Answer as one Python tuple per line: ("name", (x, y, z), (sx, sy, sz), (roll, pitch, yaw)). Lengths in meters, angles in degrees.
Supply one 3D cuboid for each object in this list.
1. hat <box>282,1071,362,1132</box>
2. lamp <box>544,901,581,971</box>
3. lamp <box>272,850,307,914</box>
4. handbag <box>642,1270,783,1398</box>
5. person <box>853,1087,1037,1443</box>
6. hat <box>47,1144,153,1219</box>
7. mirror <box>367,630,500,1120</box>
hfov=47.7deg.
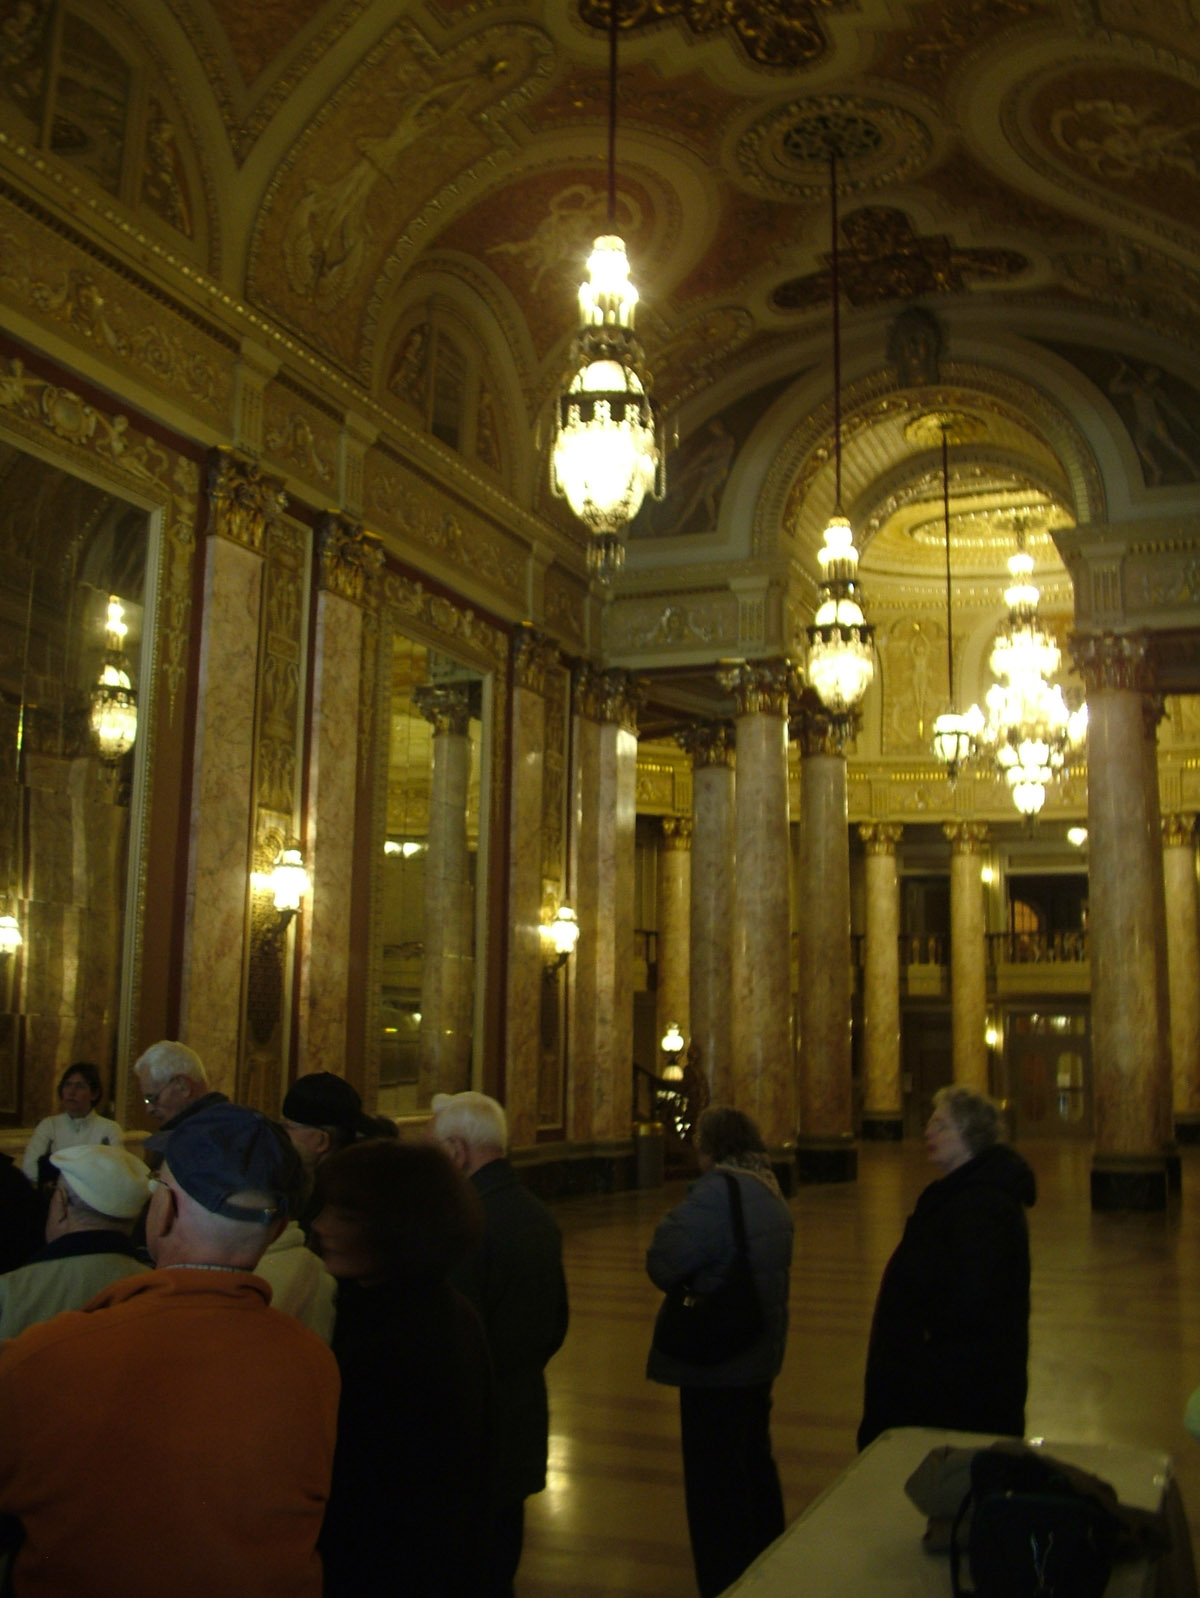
("hat", (-0.637, 0.701, 3.132), (0.154, 0.095, 0.117), (13, -10, -7))
("lamp", (-0.386, 1.352, 13.494), (0.226, 0.529, 0.389), (4, -9, 42))
("lamp", (-2.169, 0.600, 9.467), (0.248, 0.455, 0.210), (4, -11, -19))
("handbag", (0.320, 1.333, 3.439), (0.345, 0.371, 0.224), (-3, -10, 17))
("person", (0.869, 1.176, 3.430), (0.422, 0.846, 0.214), (-4, -11, 20))
("hat", (-0.843, 0.637, 2.295), (0.159, 0.078, 0.117), (26, 21, 25))
("mirror", (-1.547, 0.857, 12.716), (0.972, 4.107, 1.651), (1, -10, -6))
